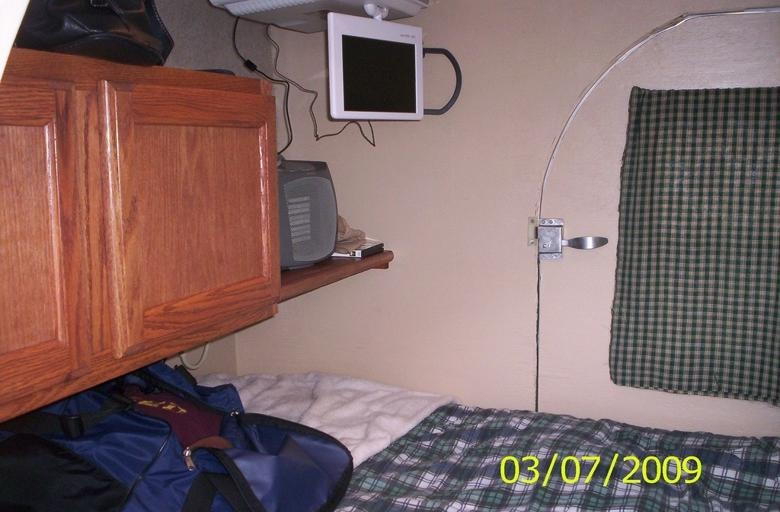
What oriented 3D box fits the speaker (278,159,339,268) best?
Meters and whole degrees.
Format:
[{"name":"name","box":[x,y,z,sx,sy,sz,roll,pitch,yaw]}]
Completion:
[{"name":"speaker","box":[-0.281,-0.135,1.942,0.212,0.309,0.334,5,14,20]}]

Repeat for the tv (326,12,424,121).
[{"name":"tv","box":[-0.048,-0.596,1.928,0.053,0.314,0.460,12,19,37]}]
